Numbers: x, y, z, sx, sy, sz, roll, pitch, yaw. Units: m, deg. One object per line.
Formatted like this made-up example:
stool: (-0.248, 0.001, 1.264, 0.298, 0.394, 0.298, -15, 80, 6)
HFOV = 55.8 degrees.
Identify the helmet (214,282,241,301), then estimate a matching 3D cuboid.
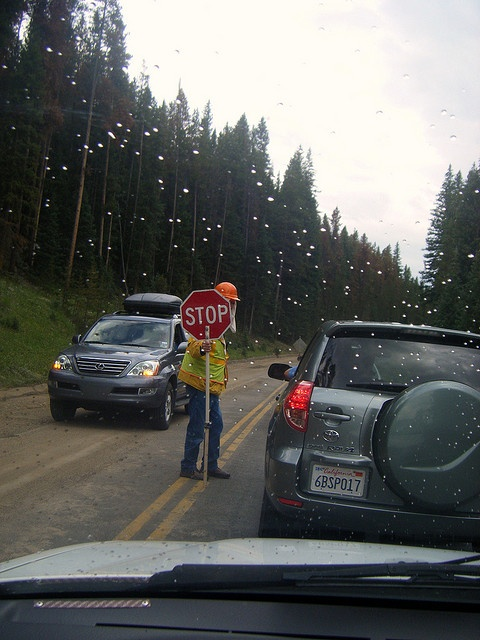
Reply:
helmet: (-0.161, -0.339, 6.258, 0.295, 0.191, 0.248, 14, 12, -25)

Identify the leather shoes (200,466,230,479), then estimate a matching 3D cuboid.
leather shoes: (-0.320, 1.983, 6.018, 0.392, 0.194, 0.152, 3, -3, 3)

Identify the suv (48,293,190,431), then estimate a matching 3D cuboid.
suv: (-2.400, 0.991, 9.169, 2.669, 2.364, 2.144, 8, 1, -28)

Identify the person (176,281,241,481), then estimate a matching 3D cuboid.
person: (-0.449, 1.117, 5.949, 0.648, 2.270, 0.583, 6, 1, -43)
